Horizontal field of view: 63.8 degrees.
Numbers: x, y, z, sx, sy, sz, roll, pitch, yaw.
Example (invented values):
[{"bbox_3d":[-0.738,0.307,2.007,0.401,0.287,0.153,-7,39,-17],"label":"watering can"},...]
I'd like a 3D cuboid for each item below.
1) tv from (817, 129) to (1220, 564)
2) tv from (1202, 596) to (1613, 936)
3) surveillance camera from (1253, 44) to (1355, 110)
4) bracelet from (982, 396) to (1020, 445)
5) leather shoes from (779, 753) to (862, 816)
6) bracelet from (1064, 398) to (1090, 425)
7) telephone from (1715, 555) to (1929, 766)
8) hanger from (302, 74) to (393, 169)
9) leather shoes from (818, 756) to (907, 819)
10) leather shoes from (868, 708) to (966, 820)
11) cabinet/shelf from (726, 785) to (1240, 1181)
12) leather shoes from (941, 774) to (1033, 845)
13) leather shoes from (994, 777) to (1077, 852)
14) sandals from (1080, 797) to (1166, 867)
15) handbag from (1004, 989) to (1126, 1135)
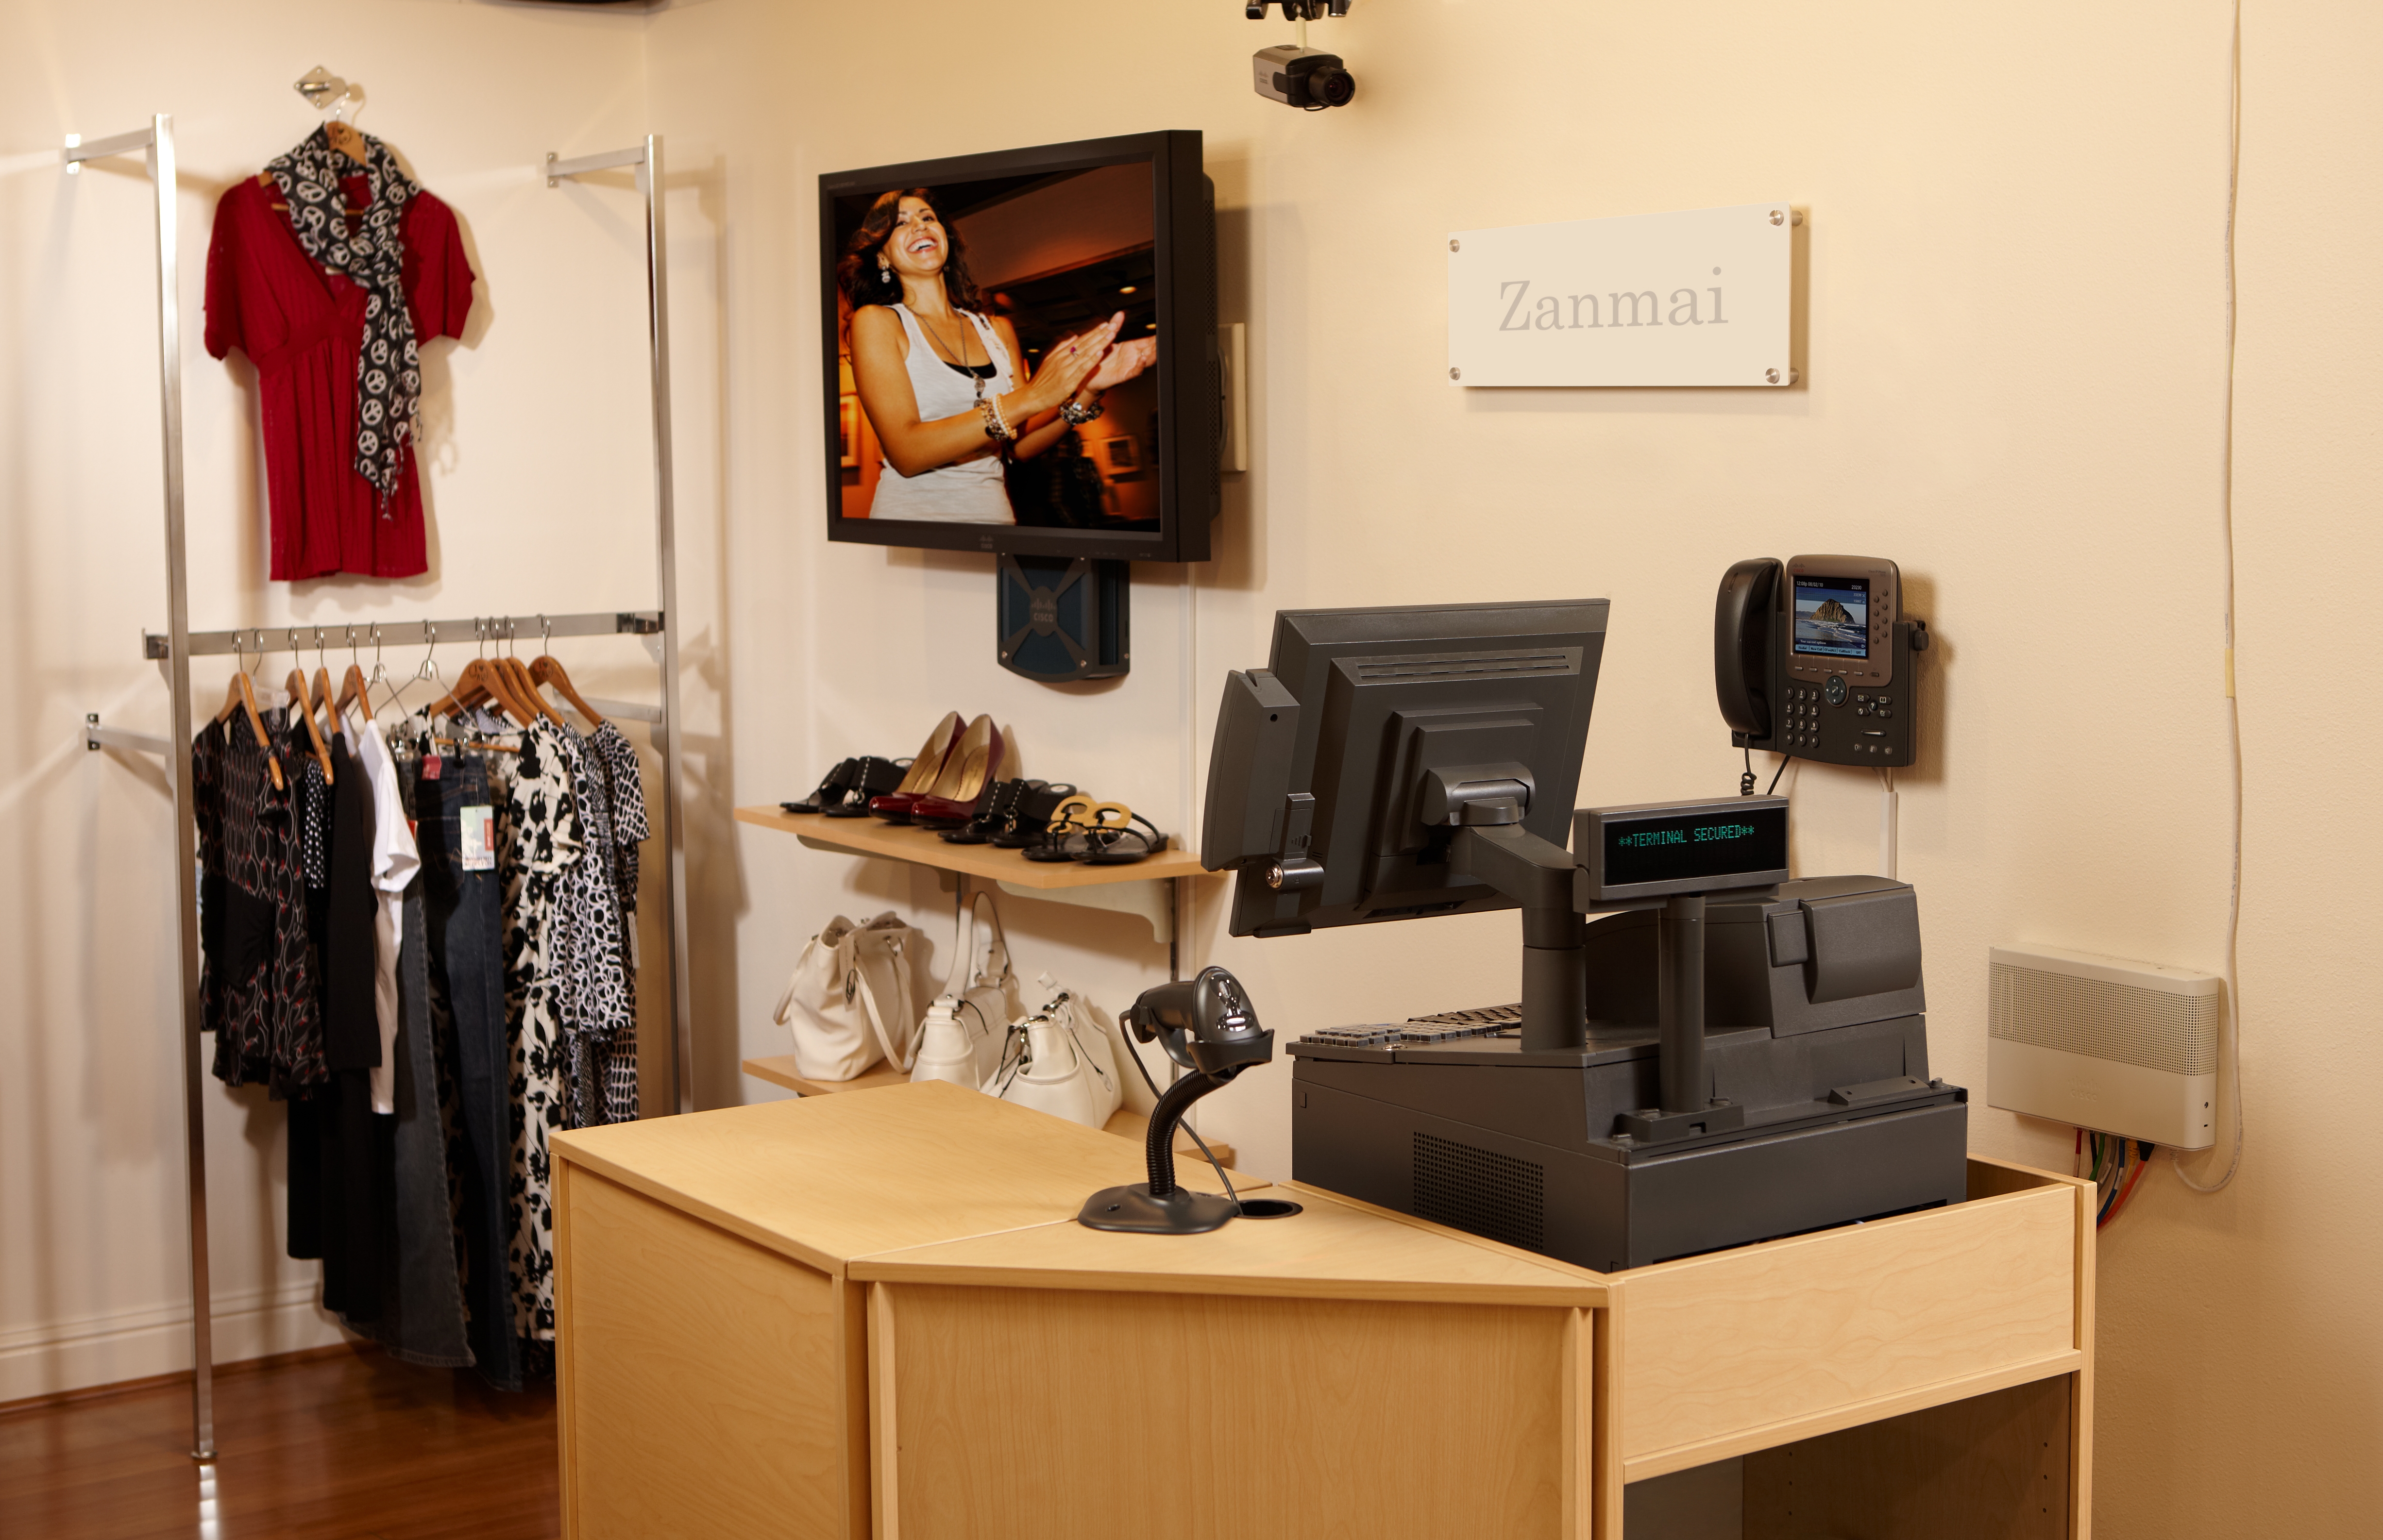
[{"bbox_3d":[-0.438,-0.995,4.591,1.201,0.983,0.188,4,5,41],"label":"tv"},{"bbox_3d":[0.342,-0.005,2.846,0.607,0.516,0.203,-3,21,-23],"label":"tv"},{"bbox_3d":[0.238,-1.463,4.045,0.223,0.140,0.209,0,4,2],"label":"surveillance camera"},{"bbox_3d":[-0.461,-0.837,4.572,0.041,0.114,0.084,-12,1,-40],"label":"bracelet"},{"bbox_3d":[-0.961,0.038,5.012,0.105,0.129,0.317,2,-1,-34],"label":"leather shoes"},{"bbox_3d":[-0.265,-0.828,4.396,0.057,0.044,0.021,-3,20,40],"label":"bracelet"},{"bbox_3d":[1.133,-0.204,3.402,0.134,0.375,0.348,-2,4,-44],"label":"telephone"},{"bbox_3d":[-2.253,-1.747,5.076,0.106,0.354,0.131,-31,-22,-31],"label":"hanger"},{"bbox_3d":[-0.847,0.040,4.903,0.121,0.081,0.222,3,2,35],"label":"leather shoes"},{"bbox_3d":[-0.685,-0.006,4.844,0.173,0.381,0.123,15,2,-37],"label":"leather shoes"},{"bbox_3d":[-0.453,0.504,4.639,1.349,0.737,0.431,4,6,43],"label":"cabinet/shelf"},{"bbox_3d":[-0.520,0.100,4.545,0.275,0.108,0.100,0,0,-27],"label":"leather shoes"},{"bbox_3d":[-0.371,0.096,4.557,0.068,0.114,0.192,-6,7,25],"label":"leather shoes"},{"bbox_3d":[-0.147,0.145,4.484,0.186,0.112,0.309,1,4,5],"label":"sandals"},{"bbox_3d":[-0.284,0.672,4.578,0.255,0.346,0.468,-1,0,15],"label":"handbag"}]
